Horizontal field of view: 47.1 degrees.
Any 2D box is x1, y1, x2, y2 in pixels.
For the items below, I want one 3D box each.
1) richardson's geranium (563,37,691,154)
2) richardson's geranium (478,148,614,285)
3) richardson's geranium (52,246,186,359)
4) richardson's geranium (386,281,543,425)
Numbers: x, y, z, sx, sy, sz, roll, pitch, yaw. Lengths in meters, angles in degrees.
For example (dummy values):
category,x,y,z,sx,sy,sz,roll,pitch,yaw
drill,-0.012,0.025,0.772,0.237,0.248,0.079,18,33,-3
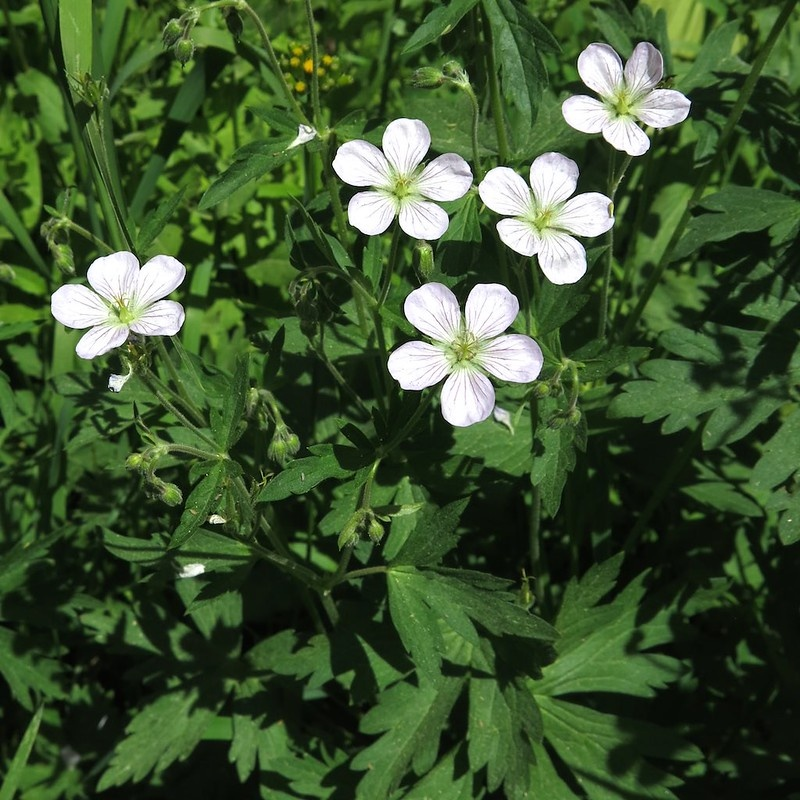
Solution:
category,x,y,z,sx,sy,sz,roll,pitch,yaw
richardson's geranium,0.647,-0.841,2.611,0.324,0.186,0.373,17,68,11
richardson's geranium,0.395,-0.516,2.549,0.351,0.162,0.349,27,71,15
richardson's geranium,-0.748,-0.261,2.467,0.354,0.126,0.329,-12,66,-2
richardson's geranium,0.161,-0.137,2.389,0.383,0.143,0.362,-38,69,-12
